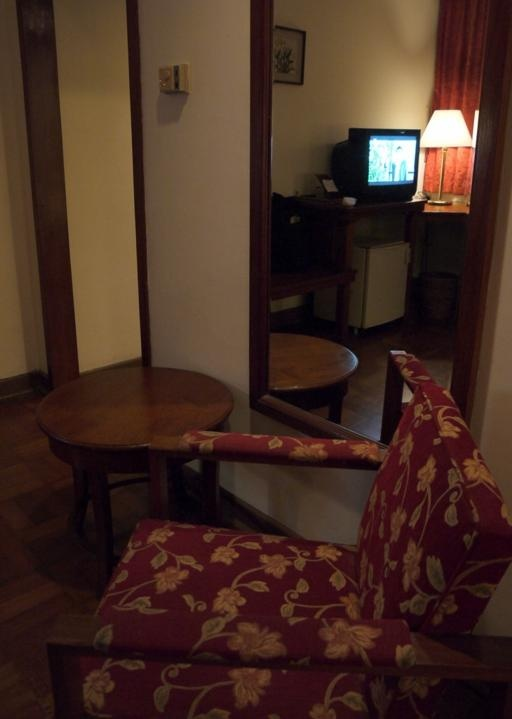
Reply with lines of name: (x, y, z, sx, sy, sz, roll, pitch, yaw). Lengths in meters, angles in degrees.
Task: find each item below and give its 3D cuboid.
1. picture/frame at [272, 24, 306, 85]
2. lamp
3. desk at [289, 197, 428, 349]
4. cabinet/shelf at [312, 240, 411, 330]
picture/frame: (0.073, -0.663, 1.194, 0.008, 0.129, 0.116, -11, 28, -29)
lamp: (0.313, -0.341, 0.935, 0.070, 0.151, 0.027, 5, 12, 26)
desk: (0.259, -0.244, 1.275, 0.260, 0.357, 0.237, 16, 28, 33)
cabinet/shelf: (0.242, -0.165, 1.189, 0.158, 0.252, 0.153, -23, 31, -39)
